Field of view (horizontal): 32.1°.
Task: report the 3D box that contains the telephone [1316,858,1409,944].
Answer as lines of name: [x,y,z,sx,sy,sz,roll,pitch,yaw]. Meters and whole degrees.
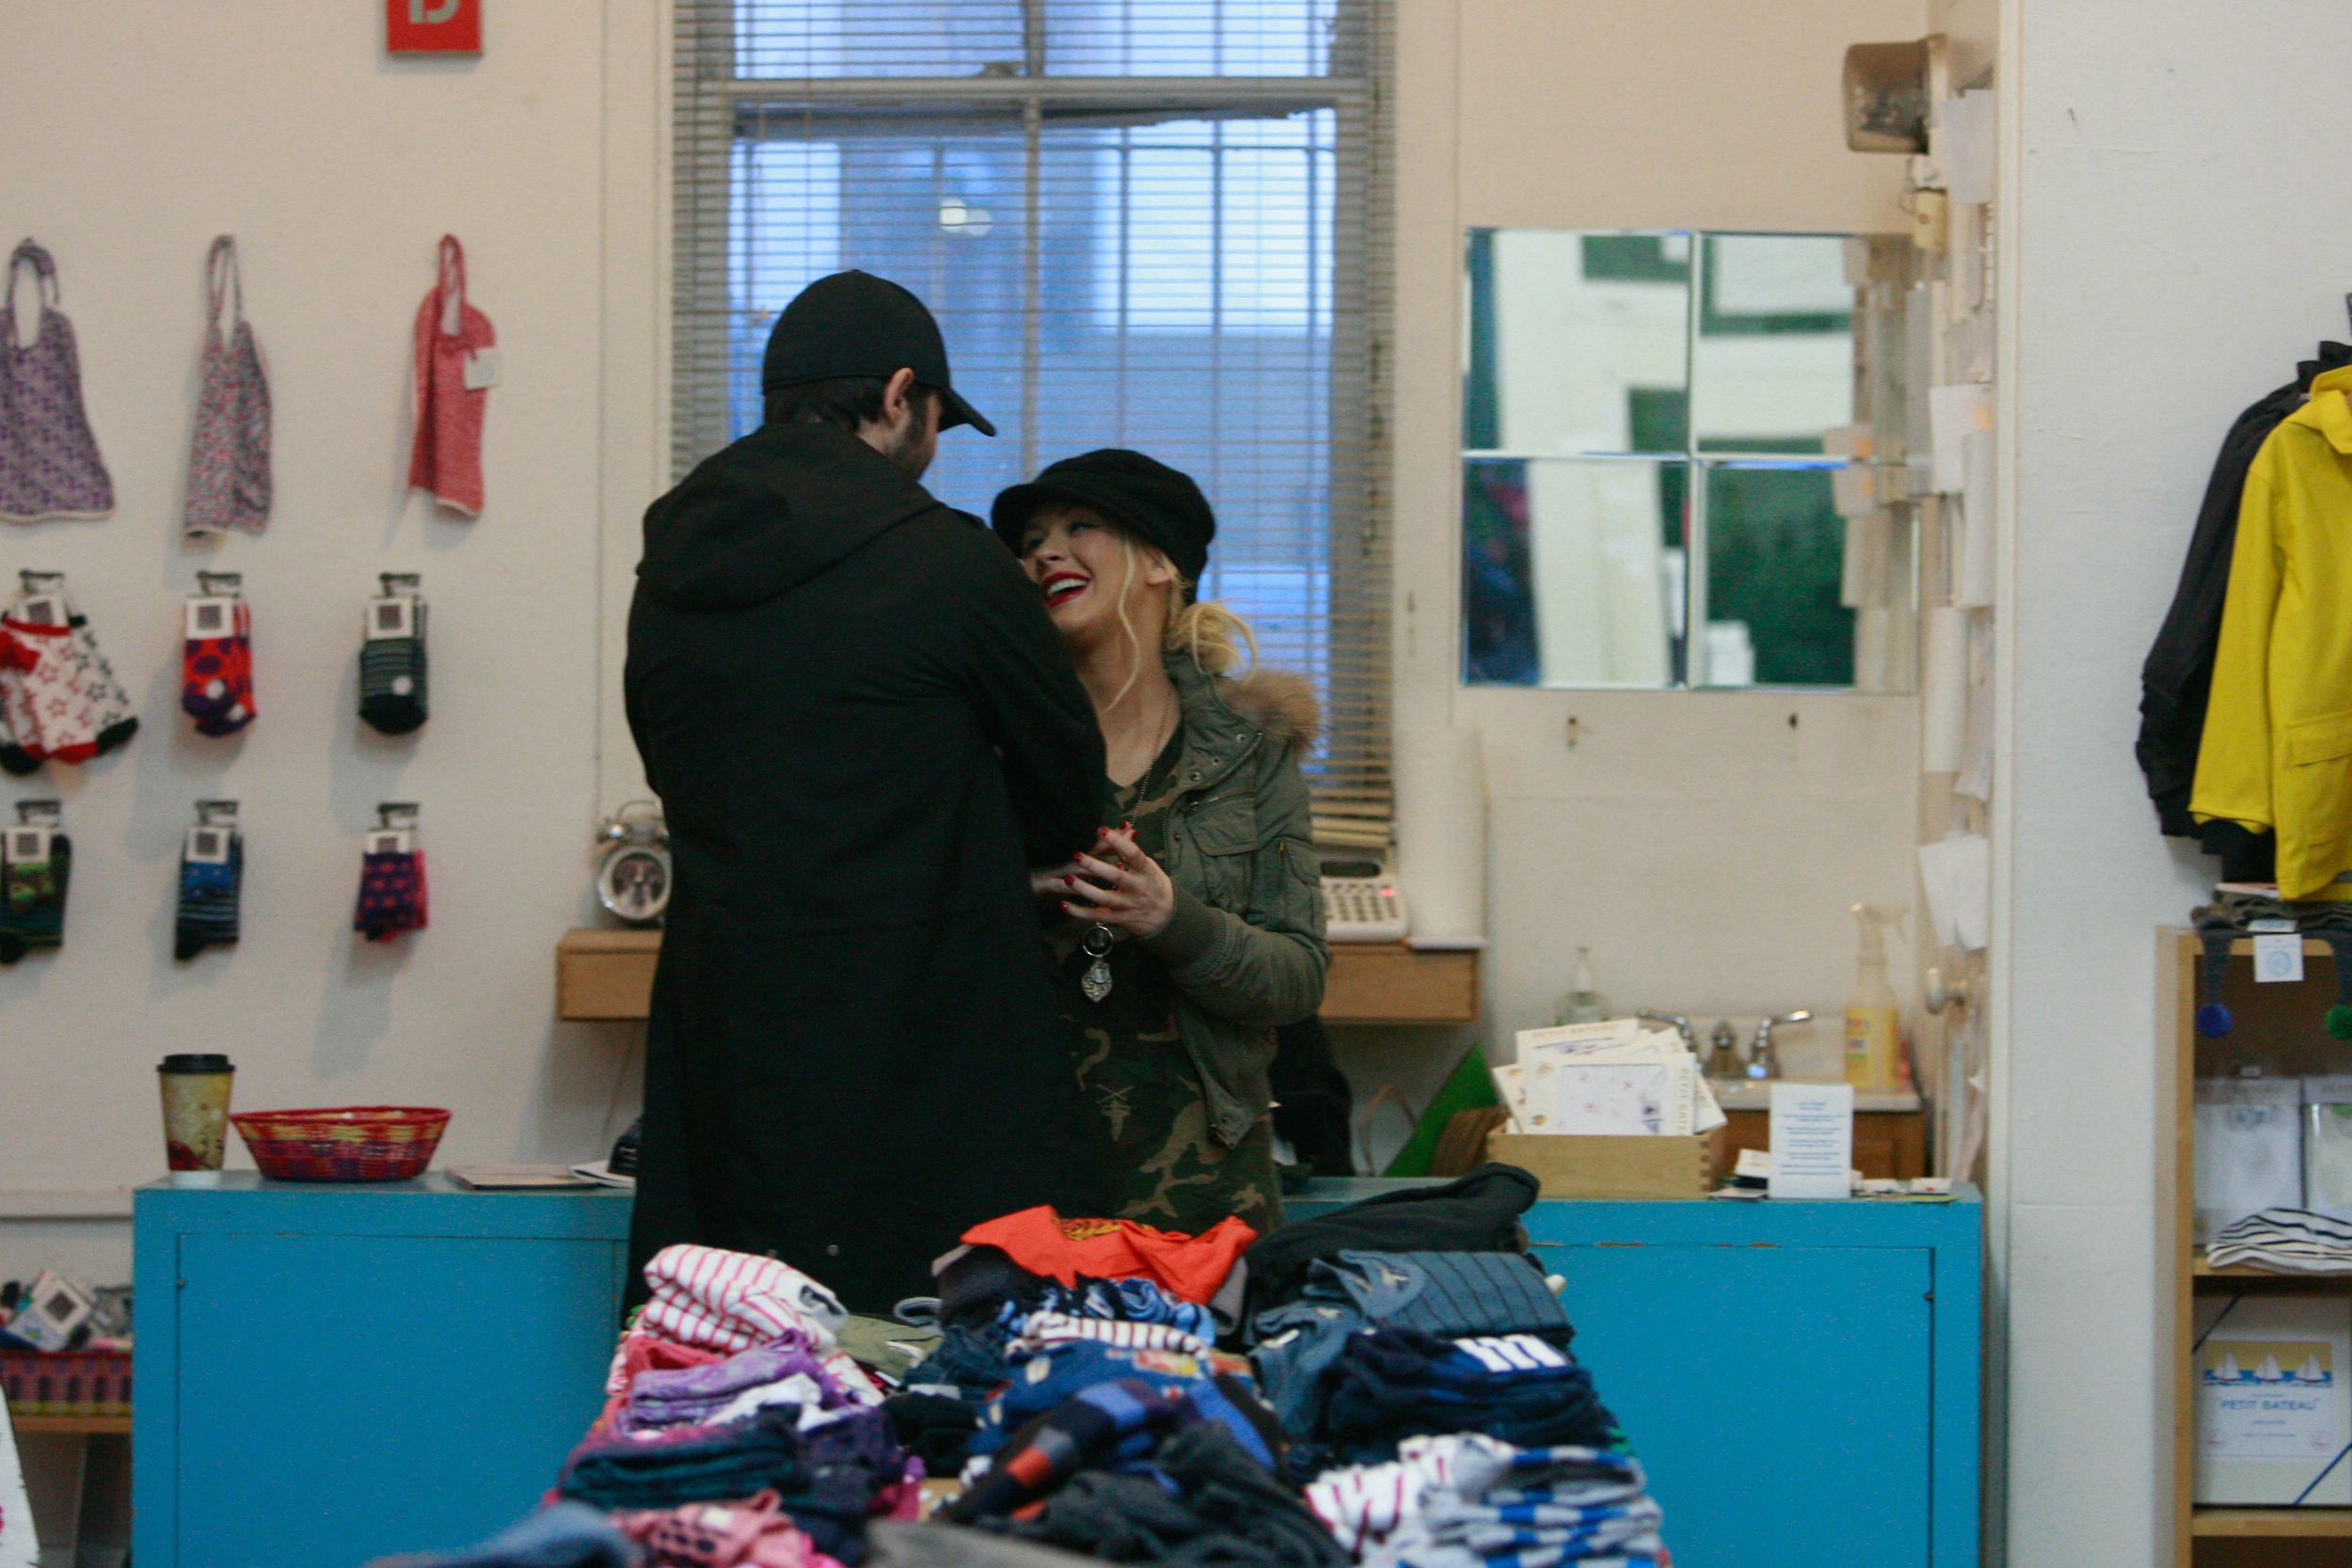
telephone: [0.440,0.257,9.663,0.179,0.182,0.044,1,-45,-4]

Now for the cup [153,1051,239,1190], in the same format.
cup: [-2.130,0.714,8.852,0.143,0.249,0.160,1,-3,-13]

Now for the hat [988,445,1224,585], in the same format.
hat: [-0.139,-0.555,8.353,0.378,0.168,0.275,18,-20,-5]

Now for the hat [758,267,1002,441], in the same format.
hat: [-0.566,-0.847,7.946,0.382,0.219,0.275,1,1,-29]

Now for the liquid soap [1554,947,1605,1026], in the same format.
liquid soap: [0.971,0.480,9.808,0.116,0.183,0.204,0,-3,6]

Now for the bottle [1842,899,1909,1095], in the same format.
bottle: [1.661,0.505,9.718,0.145,0.439,0.333,-1,-3,10]

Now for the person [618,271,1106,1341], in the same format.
person: [-0.600,0.003,7.918,0.917,1.999,0.291,0,-3,-8]

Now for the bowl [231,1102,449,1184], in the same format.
bowl: [-1.811,0.781,8.841,0.440,0.159,0.196,0,-3,-11]
